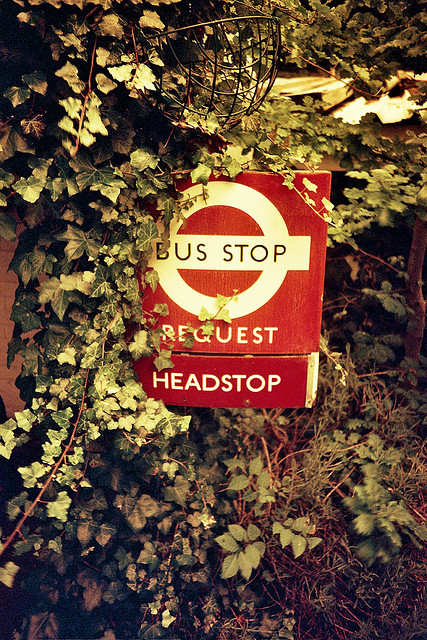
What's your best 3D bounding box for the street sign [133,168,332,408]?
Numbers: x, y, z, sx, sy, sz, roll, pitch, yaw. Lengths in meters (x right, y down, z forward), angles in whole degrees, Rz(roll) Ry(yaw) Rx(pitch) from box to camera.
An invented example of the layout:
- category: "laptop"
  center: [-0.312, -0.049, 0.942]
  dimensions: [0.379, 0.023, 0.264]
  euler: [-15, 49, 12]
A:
- category: "street sign"
  center: [0.058, -0.143, 2.176]
  dimensions: [0.900, 1.049, 0.106]
  euler: [2, 9, 4]
